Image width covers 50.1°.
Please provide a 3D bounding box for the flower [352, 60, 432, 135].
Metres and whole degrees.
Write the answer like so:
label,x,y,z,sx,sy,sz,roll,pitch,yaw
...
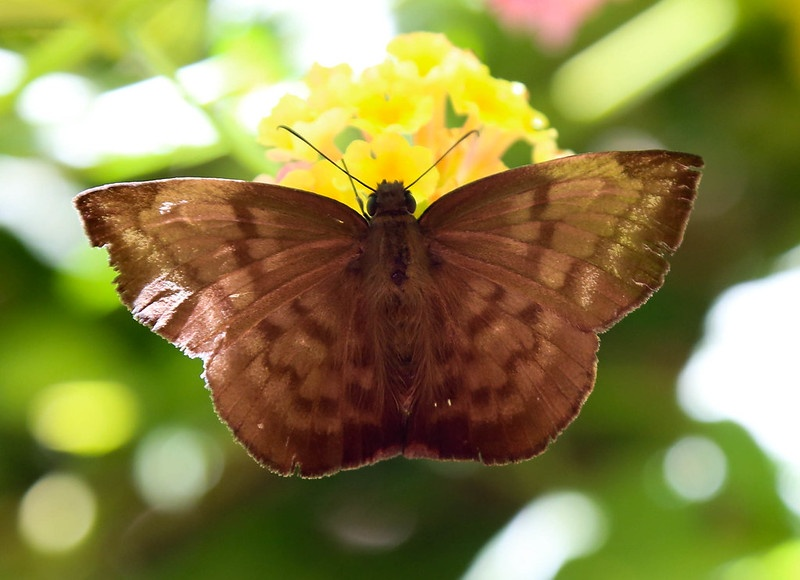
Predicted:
label,x,y,z,sx,sy,sz,roll,pitch,yaw
flower,-0.020,-0.390,1.727,0.162,0.086,0.145,-2,-74,0
